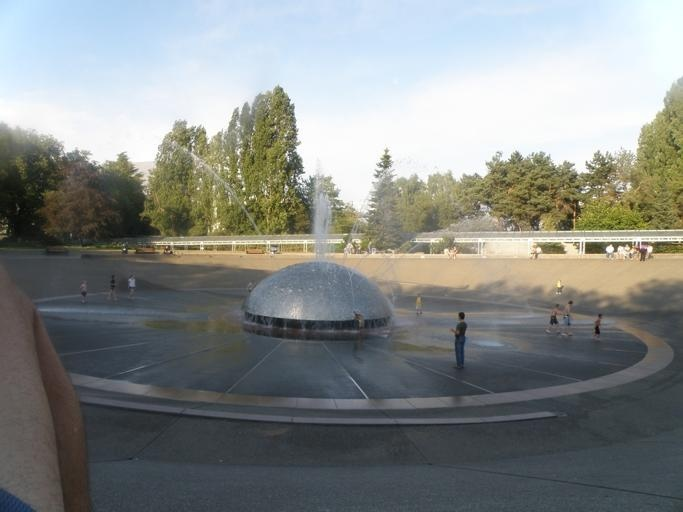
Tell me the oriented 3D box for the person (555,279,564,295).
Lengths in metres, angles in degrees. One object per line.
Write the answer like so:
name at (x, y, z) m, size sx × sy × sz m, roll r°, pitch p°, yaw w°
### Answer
person at (12.012, 1.743, 29.617) m, size 0.414 × 0.663 × 0.929 m, roll -5°, pitch 2°, yaw 2°
